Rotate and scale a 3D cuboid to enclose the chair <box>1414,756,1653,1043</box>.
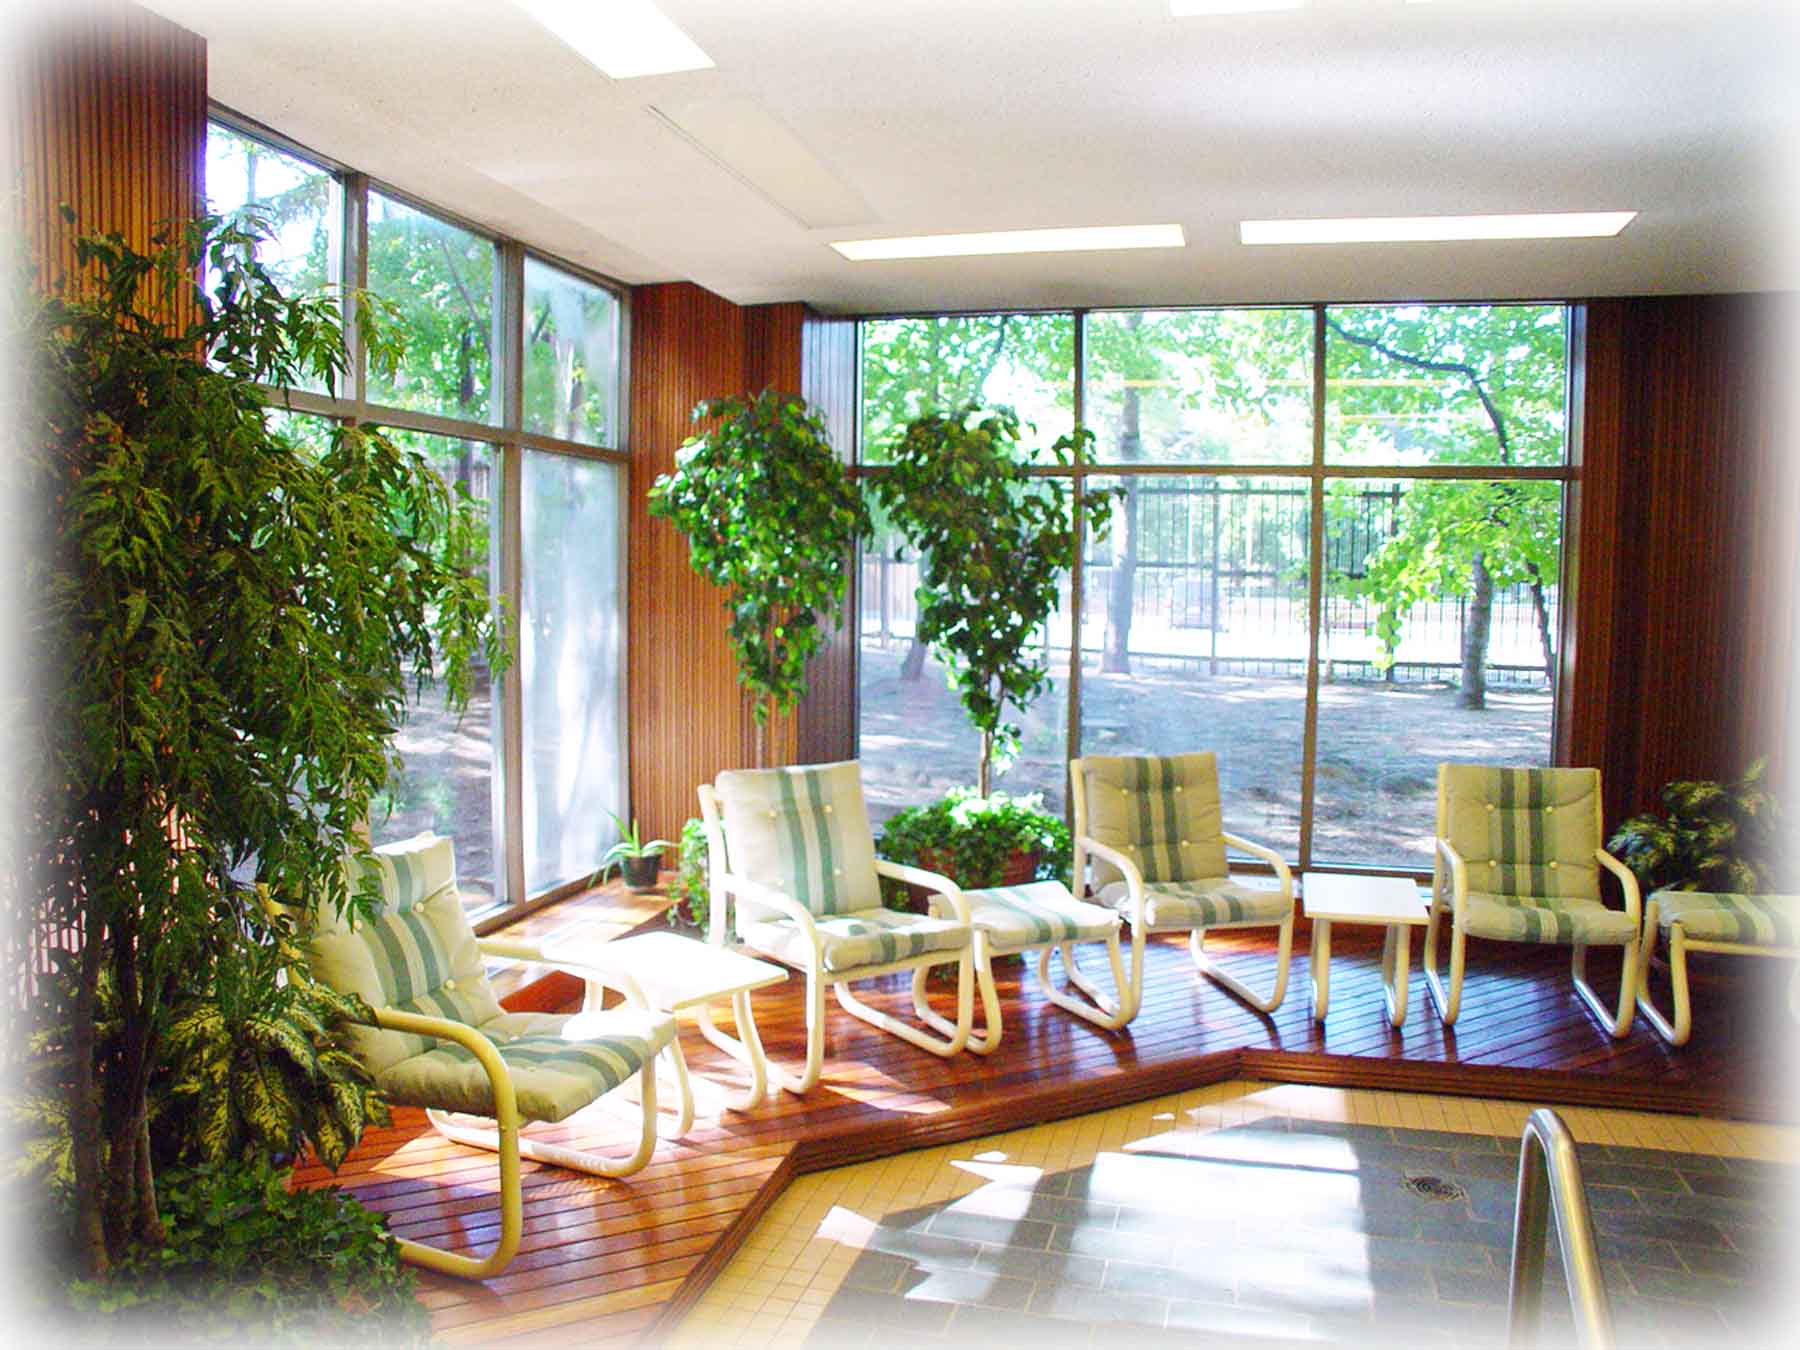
[{"bbox_3d":[2.858,1.018,5.934,0.710,1.132,0.957,2,5,18],"label":"chair"}]

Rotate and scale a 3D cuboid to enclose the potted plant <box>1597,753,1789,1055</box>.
[{"bbox_3d":[3.740,0.975,6.073,0.786,1.253,1.254,-2,-8,19],"label":"potted plant"}]

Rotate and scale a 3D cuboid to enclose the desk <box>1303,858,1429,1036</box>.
[{"bbox_3d":[2.158,1.250,6.203,0.539,0.679,1.219,6,12,18],"label":"desk"}]

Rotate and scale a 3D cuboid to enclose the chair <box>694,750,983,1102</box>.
[{"bbox_3d":[-0.271,1.029,5.512,0.785,1.220,1.013,-3,6,-35],"label":"chair"}]

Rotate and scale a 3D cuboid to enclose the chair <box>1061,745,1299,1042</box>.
[{"bbox_3d":[1.287,0.976,6.080,0.817,1.162,1.040,0,3,-4],"label":"chair"}]

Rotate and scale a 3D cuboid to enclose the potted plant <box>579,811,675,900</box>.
[{"bbox_3d":[-1.499,0.998,7.249,0.358,0.265,0.372,-3,-2,-5],"label":"potted plant"}]
